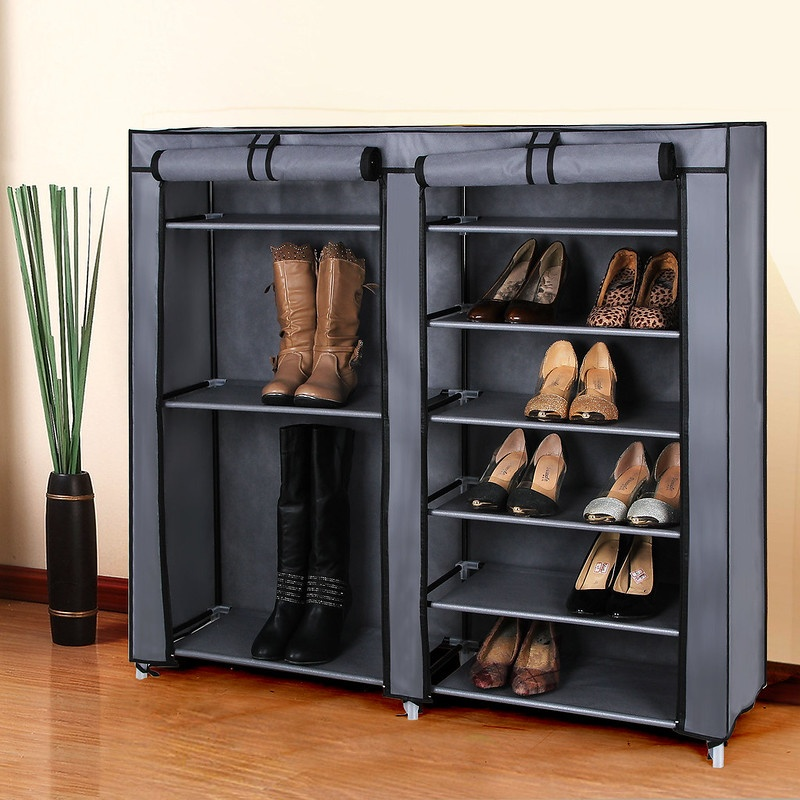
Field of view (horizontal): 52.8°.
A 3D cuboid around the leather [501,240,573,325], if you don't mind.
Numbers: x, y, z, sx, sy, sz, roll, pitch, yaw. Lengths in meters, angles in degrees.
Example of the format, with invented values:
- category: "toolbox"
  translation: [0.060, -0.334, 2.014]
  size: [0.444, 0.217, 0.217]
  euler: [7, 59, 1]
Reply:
- category: "leather"
  translation: [0.344, -0.280, 1.956]
  size: [0.101, 0.092, 0.276]
  euler: [14, 44, 22]

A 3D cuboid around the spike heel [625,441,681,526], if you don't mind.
- category: "spike heel"
  translation: [0.613, 0.196, 1.920]
  size: [0.110, 0.155, 0.288]
  euler: [2, 5, 21]

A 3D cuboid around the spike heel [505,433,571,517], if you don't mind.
- category: "spike heel"
  translation: [0.349, 0.178, 2.002]
  size: [0.098, 0.085, 0.264]
  euler: [2, 24, 18]

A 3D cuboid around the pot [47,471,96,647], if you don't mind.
- category: "pot"
  translation: [-1.002, 0.491, 2.467]
  size: [0.132, 0.540, 0.071]
  euler: [-1, 5, -14]

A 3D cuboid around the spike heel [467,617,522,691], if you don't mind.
- category: "spike heel"
  translation: [0.260, 0.625, 2.073]
  size: [0.087, 0.104, 0.266]
  euler: [2, 22, 26]

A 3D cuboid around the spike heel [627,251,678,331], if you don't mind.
- category: "spike heel"
  translation: [0.598, -0.249, 1.853]
  size: [0.087, 0.089, 0.258]
  euler: [6, 43, 26]

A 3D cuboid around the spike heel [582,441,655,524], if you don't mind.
- category: "spike heel"
  translation: [0.543, 0.206, 1.959]
  size: [0.096, 0.100, 0.281]
  euler: [-4, 24, 35]

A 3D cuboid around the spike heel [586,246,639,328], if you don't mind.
- category: "spike heel"
  translation: [0.514, -0.244, 1.870]
  size: [0.097, 0.274, 0.076]
  euler: [16, 59, 9]

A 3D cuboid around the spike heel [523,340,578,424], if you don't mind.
- category: "spike heel"
  translation: [0.382, -0.049, 1.954]
  size: [0.094, 0.095, 0.269]
  euler: [-2, 27, 22]

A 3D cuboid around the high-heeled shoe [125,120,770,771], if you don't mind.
- category: "high-heeled shoe"
  translation: [0.147, 0.120, 2.010]
  size: [1.669, 1.468, 0.522]
  euler: [2, 4, 20]

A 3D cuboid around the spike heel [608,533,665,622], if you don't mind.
- category: "spike heel"
  translation: [0.580, 0.430, 1.966]
  size: [0.113, 0.141, 0.257]
  euler: [2, 5, 21]

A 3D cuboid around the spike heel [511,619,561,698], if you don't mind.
- category: "spike heel"
  translation: [0.339, 0.648, 2.038]
  size: [0.069, 0.071, 0.201]
  euler: [-3, 12, 15]
